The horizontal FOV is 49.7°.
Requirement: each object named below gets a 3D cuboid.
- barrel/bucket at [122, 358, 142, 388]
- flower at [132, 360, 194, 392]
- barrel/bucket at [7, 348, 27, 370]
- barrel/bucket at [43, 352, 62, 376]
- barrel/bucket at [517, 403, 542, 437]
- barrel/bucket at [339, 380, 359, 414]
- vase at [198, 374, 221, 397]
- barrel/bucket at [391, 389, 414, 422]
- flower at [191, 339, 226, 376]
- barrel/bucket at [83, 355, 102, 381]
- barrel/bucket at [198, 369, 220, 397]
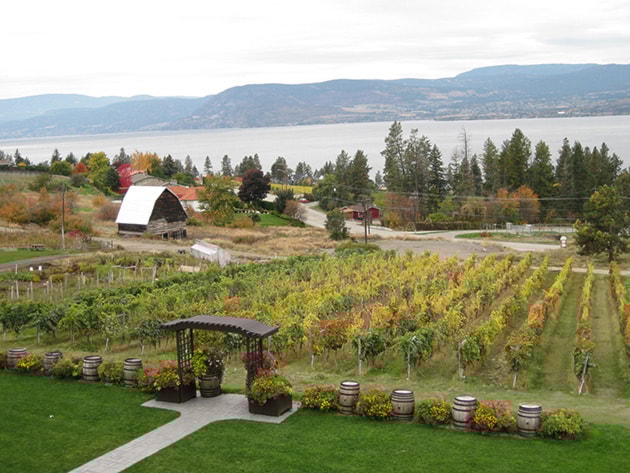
[{"bbox_3d":[-6.511,5.016,25.177,0.814,0.904,0.838,1,3,0],"label":"barrel/bucket"},{"bbox_3d":[-5.379,5.015,24.043,2.187,1.118,0.781,0,5,20],"label":"flower"},{"bbox_3d":[-11.679,4.781,26.661,0.705,0.721,0.702,1,0,0],"label":"barrel/bucket"},{"bbox_3d":[-10.070,4.893,26.073,0.738,0.796,0.761,0,0,0],"label":"barrel/bucket"},{"bbox_3d":[6.719,5.840,21.747,0.862,0.942,0.876,2,-1,0],"label":"barrel/bucket"},{"bbox_3d":[1.075,5.416,23.074,0.868,0.981,0.867,1,1,0],"label":"barrel/bucket"},{"bbox_3d":[-3.779,5.352,24.298,0.732,0.741,0.758,0,-2,0],"label":"vase"},{"bbox_3d":[2.878,5.613,22.729,0.790,0.798,0.817,-1,-6,0],"label":"barrel/bucket"},{"bbox_3d":[-3.797,4.589,24.553,1.141,1.289,1.234,-19,5,0],"label":"flower"},{"bbox_3d":[-8.383,4.972,25.522,0.723,0.796,0.755,0,-2,0],"label":"barrel/bucket"},{"bbox_3d":[-3.767,5.291,24.602,0.815,0.827,0.843,0,-1,0],"label":"barrel/bucket"}]
